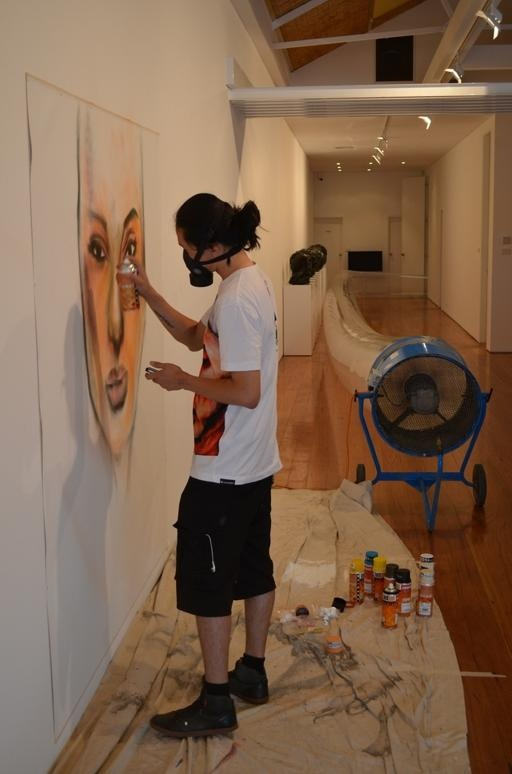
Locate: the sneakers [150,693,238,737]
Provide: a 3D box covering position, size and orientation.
[{"bbox_3d":[-0.156,0.930,1.715,0.275,0.157,0.109,0,-11,4],"label":"sneakers"}]

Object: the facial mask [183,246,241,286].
[{"bbox_3d":[-0.130,-0.322,1.603,0.115,0.105,0.099,2,30,3],"label":"facial mask"}]

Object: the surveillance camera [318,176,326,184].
[{"bbox_3d":[2.347,-7.352,20.832,0.197,0.180,0.057,2,5,19],"label":"surveillance camera"}]

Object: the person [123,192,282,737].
[{"bbox_3d":[-0.108,0.256,1.661,0.345,1.518,0.412,1,4,10],"label":"person"}]

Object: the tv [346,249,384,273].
[{"bbox_3d":[3.948,-4.552,21.123,1.286,0.762,0.464,1,5,8],"label":"tv"}]
